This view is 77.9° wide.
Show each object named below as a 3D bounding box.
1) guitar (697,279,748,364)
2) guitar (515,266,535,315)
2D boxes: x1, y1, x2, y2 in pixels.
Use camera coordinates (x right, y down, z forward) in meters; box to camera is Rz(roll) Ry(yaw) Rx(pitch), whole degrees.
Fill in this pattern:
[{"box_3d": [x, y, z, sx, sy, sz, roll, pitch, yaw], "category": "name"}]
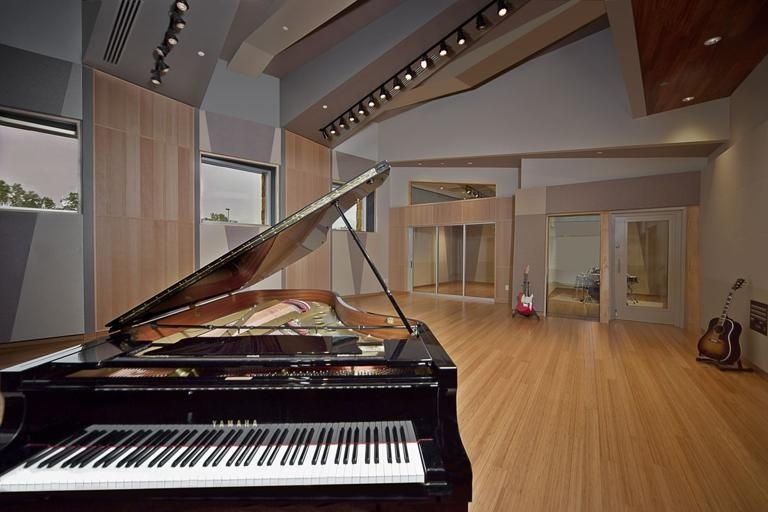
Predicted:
[{"box_3d": [4.383, 0.831, 6.165, 0.486, 1.070, 0.623, 4, 9, 34], "category": "guitar"}, {"box_3d": [2.596, 0.645, 8.760, 0.344, 0.874, 0.492, 1, 8, 17], "category": "guitar"}]
